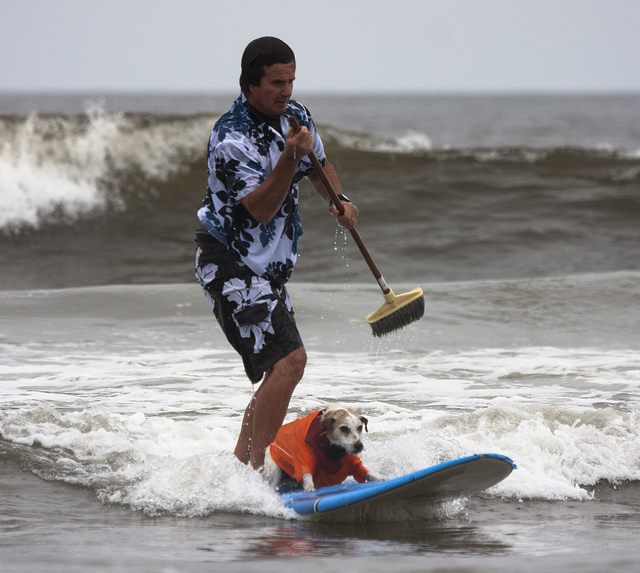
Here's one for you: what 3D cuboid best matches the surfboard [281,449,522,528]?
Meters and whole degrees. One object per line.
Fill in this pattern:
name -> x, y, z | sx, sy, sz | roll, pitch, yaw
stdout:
surfboard -> 0.503, 1.728, 12.109 | 2.302, 0.262, 0.824 | -22, -28, 40

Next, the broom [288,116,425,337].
broom -> 0.234, -0.596, 12.391 | 0.282, 2.215, 0.736 | -26, -5, -39
